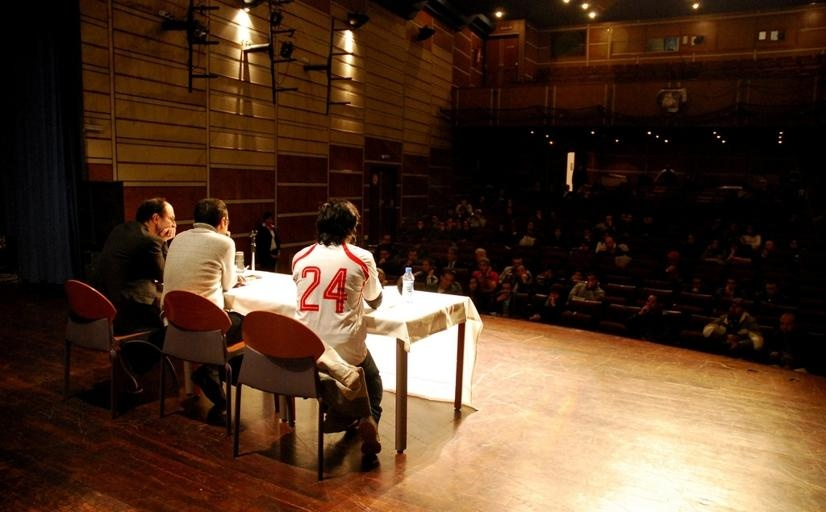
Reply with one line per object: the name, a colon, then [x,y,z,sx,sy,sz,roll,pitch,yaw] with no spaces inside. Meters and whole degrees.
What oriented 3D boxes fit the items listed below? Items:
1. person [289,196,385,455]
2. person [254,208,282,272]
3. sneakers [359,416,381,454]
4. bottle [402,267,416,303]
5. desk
person: [-0.680,0.695,5.385,0.911,2.397,0.466,3,8,-11]
person: [-2.988,-0.293,11.856,0.451,1.179,0.648,3,7,-15]
sneakers: [-0.412,1.683,5.443,0.185,0.379,0.163,-2,13,-4]
bottle: [-0.054,0.286,5.981,0.136,0.338,0.228,5,7,1]
desk: [-0.190,0.882,6.182,2.578,1.207,1.732,11,24,26]
